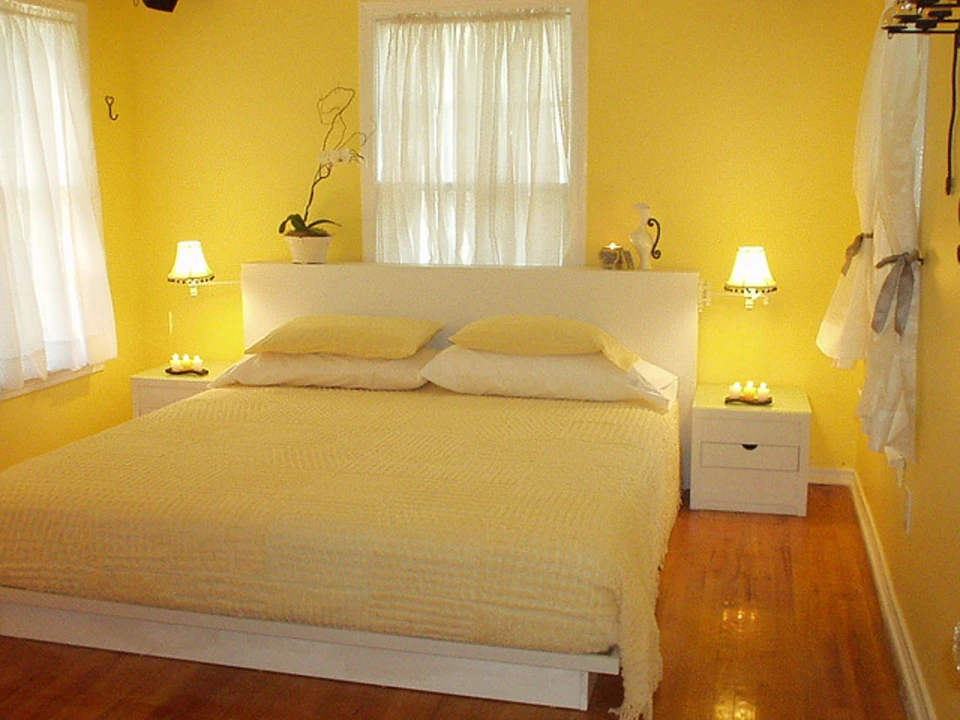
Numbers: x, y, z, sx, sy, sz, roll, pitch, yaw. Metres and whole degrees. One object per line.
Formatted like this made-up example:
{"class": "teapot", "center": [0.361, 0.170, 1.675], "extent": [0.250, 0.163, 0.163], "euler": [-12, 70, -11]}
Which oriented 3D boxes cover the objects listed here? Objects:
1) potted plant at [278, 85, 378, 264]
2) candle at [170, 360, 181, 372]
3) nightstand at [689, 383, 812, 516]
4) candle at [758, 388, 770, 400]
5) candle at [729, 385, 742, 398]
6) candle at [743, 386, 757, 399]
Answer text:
{"class": "potted plant", "center": [-0.917, -1.073, 4.391], "extent": [0.532, 0.999, 0.376], "euler": [-3, 15, -14]}
{"class": "candle", "center": [-1.784, 0.034, 4.444], "extent": [0.062, 0.068, 0.062], "euler": [-4, 32, -21]}
{"class": "nightstand", "center": [1.384, 0.438, 3.929], "extent": [0.522, 0.563, 0.562], "euler": [1, 3, 12]}
{"class": "candle", "center": [1.449, 0.175, 3.850], "extent": [0.059, 0.074, 0.062], "euler": [6, 13, 27]}
{"class": "candle", "center": [1.331, 0.155, 3.921], "extent": [0.059, 0.074, 0.063], "euler": [4, 14, 17]}
{"class": "candle", "center": [1.394, 0.161, 3.897], "extent": [0.060, 0.076, 0.064], "euler": [3, 11, 19]}
